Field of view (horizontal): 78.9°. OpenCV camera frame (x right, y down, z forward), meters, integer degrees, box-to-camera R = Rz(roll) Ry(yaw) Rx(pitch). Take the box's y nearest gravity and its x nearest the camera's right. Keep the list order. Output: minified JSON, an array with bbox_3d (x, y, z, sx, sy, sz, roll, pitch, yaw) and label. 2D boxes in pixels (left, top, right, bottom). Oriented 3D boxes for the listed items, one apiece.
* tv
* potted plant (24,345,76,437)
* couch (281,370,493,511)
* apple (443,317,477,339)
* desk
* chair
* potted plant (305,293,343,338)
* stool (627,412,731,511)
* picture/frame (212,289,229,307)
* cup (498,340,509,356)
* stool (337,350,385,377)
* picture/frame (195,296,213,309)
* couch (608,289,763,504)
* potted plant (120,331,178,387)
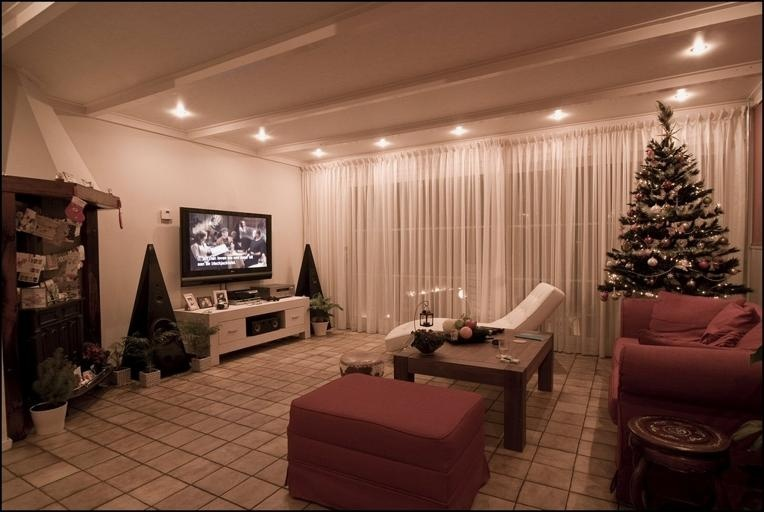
[{"bbox_3d":[-2.269,-0.125,6.820,0.122,1.056,1.631,0,1,32],"label":"tv"},{"bbox_3d":[-3.117,1.243,4.424,0.323,0.629,0.279,2,-20,-28],"label":"potted plant"},{"bbox_3d":[0.180,1.130,3.596,1.304,0.571,0.924,0,7,27],"label":"couch"},{"bbox_3d":[0.822,0.753,4.919,0.226,0.102,0.250,3,-6,-39],"label":"apple"},{"bbox_3d":[1.066,1.238,5.023,1.349,0.604,1.807,2,3,33],"label":"desk"},{"bbox_3d":[1.125,0.715,6.061,2.346,0.858,0.928,-1,-1,17],"label":"chair"},{"bbox_3d":[-0.959,0.929,7.687,0.405,0.653,0.638,4,14,17],"label":"potted plant"},{"bbox_3d":[1.972,1.476,3.393,0.679,0.671,0.666,-1,-4,12],"label":"stool"},{"bbox_3d":[-2.288,0.586,6.542,0.023,0.265,0.236,-19,-4,29],"label":"picture/frame"},{"bbox_3d":[1.166,0.871,4.461,0.116,0.121,0.115,-1,-4,0],"label":"cup"},{"bbox_3d":[-0.240,1.182,5.180,0.366,0.148,0.350,-1,-1,23],"label":"stool"},{"bbox_3d":[-2.475,0.635,6.427,0.024,0.118,0.182,-20,-14,41],"label":"picture/frame"},{"bbox_3d":[2.306,1.079,3.493,0.817,0.875,1.635,-1,6,31],"label":"couch"},{"bbox_3d":[-2.798,1.127,5.618,0.555,0.625,0.676,6,5,37],"label":"potted plant"}]
